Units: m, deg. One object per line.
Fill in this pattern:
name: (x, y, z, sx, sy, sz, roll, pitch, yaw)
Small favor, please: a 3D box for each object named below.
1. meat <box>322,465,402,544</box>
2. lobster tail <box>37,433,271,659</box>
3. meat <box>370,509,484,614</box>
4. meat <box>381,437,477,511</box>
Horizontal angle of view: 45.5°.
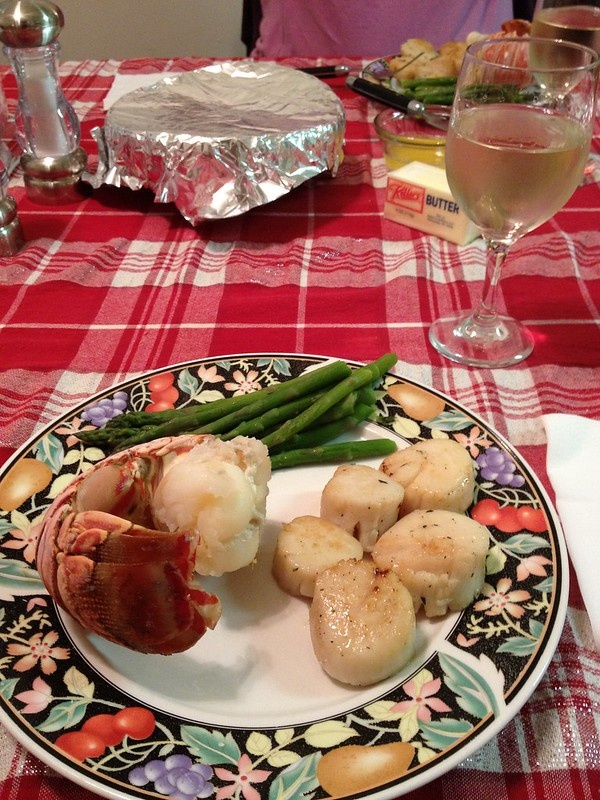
meat: (0.062, 0.117, 0.784, 0.084, 0.065, 0.074, -6, 42, -16)
lobster tail: (-0.117, 0.111, 0.657, 0.179, 0.092, 0.211, 35, 51, 0)
meat: (0.115, 0.144, 0.685, 0.094, 0.049, 0.091, 23, 43, 31)
meat: (0.137, 0.072, 0.764, 0.081, 0.039, 0.081, -36, 45, -28)
